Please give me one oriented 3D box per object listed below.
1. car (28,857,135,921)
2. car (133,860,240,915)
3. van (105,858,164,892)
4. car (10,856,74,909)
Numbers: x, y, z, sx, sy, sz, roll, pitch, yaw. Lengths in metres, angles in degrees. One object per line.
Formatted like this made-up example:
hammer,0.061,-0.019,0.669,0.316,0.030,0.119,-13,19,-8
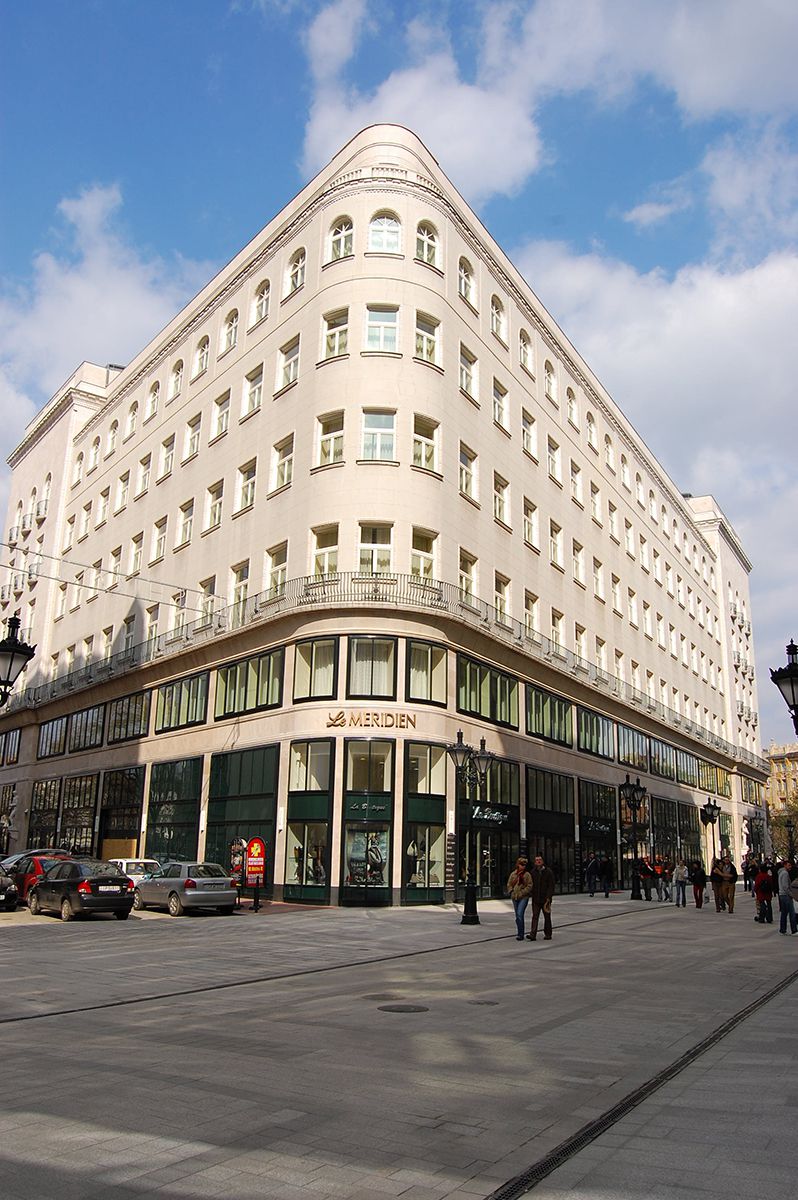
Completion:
car,-8.686,8.041,22.831,1.388,1.524,3.267,16,-24,-42
car,-6.481,8.739,24.997,1.675,1.462,4.450,14,-23,-38
van,-8.712,9.311,27.317,1.313,1.273,2.316,5,-9,-25
car,-11.319,8.640,25.997,1.600,1.585,3.235,12,-18,-42
